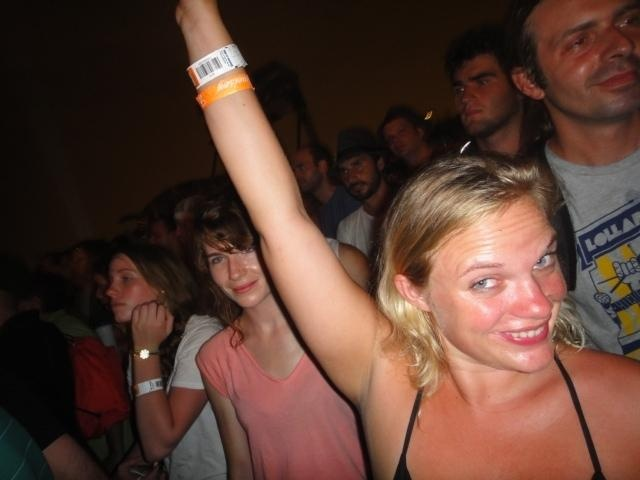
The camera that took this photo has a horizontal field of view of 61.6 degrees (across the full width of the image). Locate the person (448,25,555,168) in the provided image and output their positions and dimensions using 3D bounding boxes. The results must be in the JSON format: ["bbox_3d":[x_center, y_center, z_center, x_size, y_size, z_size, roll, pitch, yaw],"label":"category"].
[{"bbox_3d":[1.366,-1.063,4.322,0.645,1.126,0.629,0,-12,-14],"label":"person"}]

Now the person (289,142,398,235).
[{"bbox_3d":[0.427,-0.566,5.425,0.709,1.013,0.996,-18,-3,33],"label":"person"}]

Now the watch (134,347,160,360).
[{"bbox_3d":[-1.103,0.721,3.406,0.080,0.050,0.083,1,-2,-6],"label":"watch"}]
